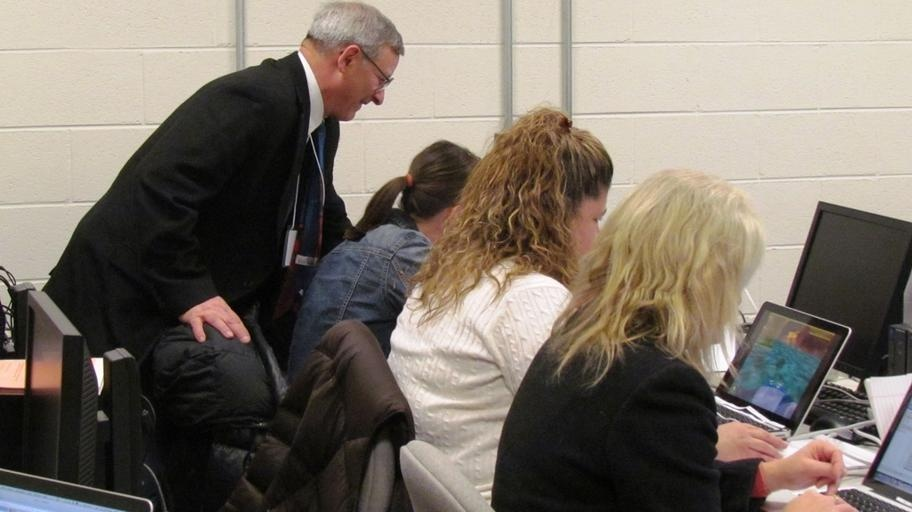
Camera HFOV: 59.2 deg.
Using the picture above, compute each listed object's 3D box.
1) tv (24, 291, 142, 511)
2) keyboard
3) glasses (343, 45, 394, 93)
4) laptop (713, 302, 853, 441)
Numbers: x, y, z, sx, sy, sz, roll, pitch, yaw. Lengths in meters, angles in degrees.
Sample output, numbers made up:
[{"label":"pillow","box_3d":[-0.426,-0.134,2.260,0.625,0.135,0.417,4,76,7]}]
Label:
[{"label":"tv","box_3d":[-1.079,0.425,2.306,0.345,0.542,0.614,1,9,-37]},{"label":"keyboard","box_3d":[1.419,0.577,2.970,0.177,0.061,0.465,-9,12,17]},{"label":"glasses","box_3d":[-0.358,-0.789,3.405,0.050,0.157,0.156,-34,9,-19]},{"label":"laptop","box_3d":[1.156,0.426,2.857,0.397,0.357,0.323,31,11,40]}]
